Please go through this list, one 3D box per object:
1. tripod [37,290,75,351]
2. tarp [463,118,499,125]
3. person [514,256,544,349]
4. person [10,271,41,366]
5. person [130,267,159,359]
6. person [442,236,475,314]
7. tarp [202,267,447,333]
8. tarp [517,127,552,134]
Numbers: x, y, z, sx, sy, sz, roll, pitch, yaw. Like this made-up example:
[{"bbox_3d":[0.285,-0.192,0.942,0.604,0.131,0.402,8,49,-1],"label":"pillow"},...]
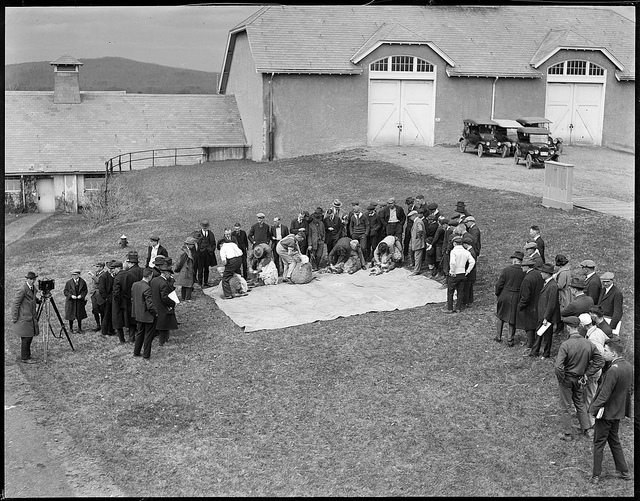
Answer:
[{"bbox_3d":[-7.137,1.628,18.828,0.820,1.631,2.736,-4,9,-22],"label":"tripod"},{"bbox_3d":[9.096,-7.237,39.944,0.871,0.287,1.622,-5,14,-11],"label":"tarp"},{"bbox_3d":[4.960,1.178,16.779,0.715,1.837,0.945,0,1,12],"label":"person"},{"bbox_3d":[-7.314,1.618,17.494,0.629,2.592,0.909,2,12,-8],"label":"person"},{"bbox_3d":[-4.340,1.621,17.425,0.626,2.112,0.733,-7,11,-39],"label":"person"},{"bbox_3d":[3.702,0.716,18.792,0.682,2.050,0.667,-1,8,0],"label":"person"},{"bbox_3d":[0.326,1.422,20.661,6.272,0.188,4.215,-8,10,-15],"label":"tarp"},{"bbox_3d":[10.933,-6.083,36.103,1.551,0.316,0.660,2,9,16],"label":"tarp"}]
